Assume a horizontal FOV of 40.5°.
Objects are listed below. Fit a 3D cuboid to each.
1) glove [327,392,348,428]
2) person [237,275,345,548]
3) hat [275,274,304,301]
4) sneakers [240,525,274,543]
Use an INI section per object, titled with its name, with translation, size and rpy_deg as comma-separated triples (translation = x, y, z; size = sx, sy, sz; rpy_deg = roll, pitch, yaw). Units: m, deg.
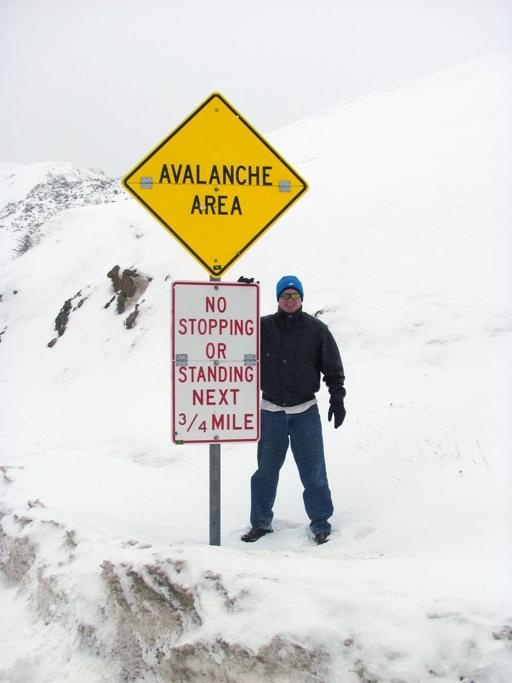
[glove]
translation = 0.619, 0.515, 5.273
size = 0.182, 0.367, 0.101
rpy_deg = 1, -7, 29
[person]
translation = 0.272, 0.504, 5.266
size = 0.790, 1.986, 0.440
rpy_deg = -1, -2, 9
[hat]
translation = 0.246, -0.423, 5.289
size = 0.176, 0.213, 0.211
rpy_deg = 0, -3, 6
[sneakers]
translation = 0.010, 1.469, 5.287
size = 0.238, 0.114, 0.085
rpy_deg = 6, 5, -30
